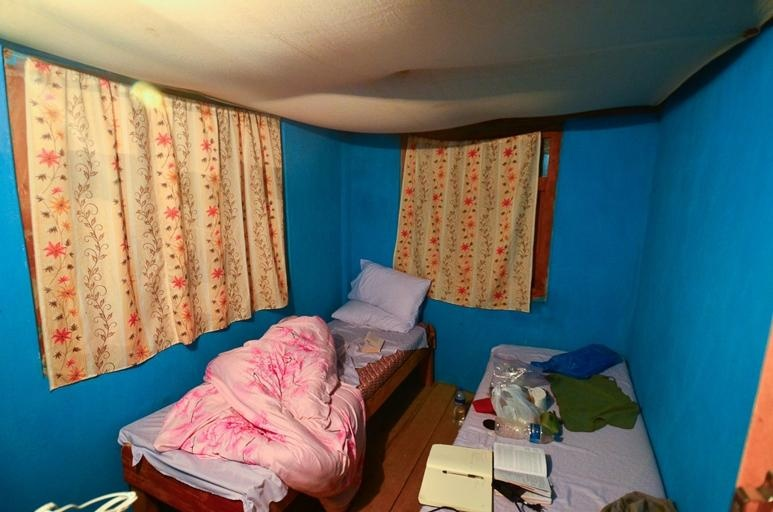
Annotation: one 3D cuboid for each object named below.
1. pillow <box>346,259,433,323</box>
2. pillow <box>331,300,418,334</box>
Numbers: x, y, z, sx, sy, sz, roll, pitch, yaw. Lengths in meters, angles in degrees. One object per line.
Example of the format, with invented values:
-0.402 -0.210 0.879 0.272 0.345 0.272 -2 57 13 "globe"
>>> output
0.035 0.305 4.886 0.795 0.452 0.239 17 -15 41 "pillow"
-0.142 0.534 4.811 0.503 0.103 0.293 9 30 29 "pillow"
